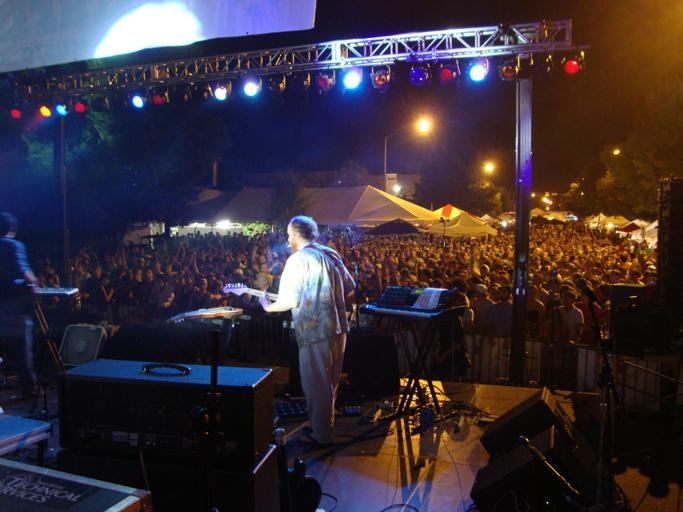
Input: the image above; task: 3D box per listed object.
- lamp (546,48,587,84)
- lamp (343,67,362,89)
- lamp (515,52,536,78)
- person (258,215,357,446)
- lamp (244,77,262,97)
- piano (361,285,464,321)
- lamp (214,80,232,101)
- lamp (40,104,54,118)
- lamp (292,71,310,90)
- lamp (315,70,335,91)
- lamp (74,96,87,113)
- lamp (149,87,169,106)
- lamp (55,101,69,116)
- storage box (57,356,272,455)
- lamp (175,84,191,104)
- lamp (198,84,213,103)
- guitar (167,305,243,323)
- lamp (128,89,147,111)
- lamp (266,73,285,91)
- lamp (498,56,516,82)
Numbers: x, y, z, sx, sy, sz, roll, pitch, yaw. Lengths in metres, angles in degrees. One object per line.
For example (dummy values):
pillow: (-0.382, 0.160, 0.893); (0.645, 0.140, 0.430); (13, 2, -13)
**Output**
lamp: (3.131, -2.681, 8.356); (0.547, 0.256, 0.188); (2, 1, 20)
lamp: (0.177, -2.794, 9.511); (0.263, 0.297, 0.276); (0, 5, -15)
lamp: (2.570, -2.648, 8.394); (0.272, 0.401, 0.158); (1, 1, 21)
person: (-0.342, 0.712, 6.546); (0.842, 2.428, 0.931); (0, 0, 14)
lamp: (-1.480, -2.804, 10.069); (0.247, 0.323, 0.256); (4, 6, -15)
piano: (0.773, 0.502, 6.537); (0.993, 0.301, 0.500); (2, 1, 31)
lamp: (-2.025, -2.809, 10.314); (0.222, 0.320, 0.122); (26, 3, 7)
lamp: (-5.433, -2.654, 11.053); (0.216, 0.169, 0.281); (1, 1, -34)
lamp: (-0.650, -2.878, 9.874); (0.263, 0.214, 0.273); (4, 7, 32)
lamp: (-0.241, -2.833, 9.739); (0.319, 0.265, 0.151); (2, 1, 35)
lamp: (-4.818, -2.769, 11.077); (0.255, 0.272, 0.301); (1, 1, 3)
lamp: (-3.251, -2.897, 10.864); (0.335, 0.337, 0.228); (1, 1, -32)
lamp: (-5.087, -2.661, 10.942); (0.144, 0.222, 0.091); (7, -21, -9)
storage box: (-1.201, 1.193, 4.624); (1.540, 0.770, 1.068); (0, 0, 12)
lamp: (-2.883, -2.935, 10.900); (0.245, 0.275, 0.647); (1, 1, -27)
lamp: (-2.373, -2.853, 10.501); (0.221, 0.252, 0.498); (1, 1, -23)
guitar: (-1.641, 0.717, 7.183); (0.769, 0.218, 0.987); (1, 1, -20)
lamp: (-3.650, -2.752, 10.778); (0.268, 0.273, 0.061); (42, 14, 9)
lamp: (-1.080, -2.882, 10.042); (0.246, 0.186, 0.224); (0, 1, 29)
lamp: (2.378, -2.691, 8.612); (0.221, 0.276, 0.261); (-1, 0, 5)
